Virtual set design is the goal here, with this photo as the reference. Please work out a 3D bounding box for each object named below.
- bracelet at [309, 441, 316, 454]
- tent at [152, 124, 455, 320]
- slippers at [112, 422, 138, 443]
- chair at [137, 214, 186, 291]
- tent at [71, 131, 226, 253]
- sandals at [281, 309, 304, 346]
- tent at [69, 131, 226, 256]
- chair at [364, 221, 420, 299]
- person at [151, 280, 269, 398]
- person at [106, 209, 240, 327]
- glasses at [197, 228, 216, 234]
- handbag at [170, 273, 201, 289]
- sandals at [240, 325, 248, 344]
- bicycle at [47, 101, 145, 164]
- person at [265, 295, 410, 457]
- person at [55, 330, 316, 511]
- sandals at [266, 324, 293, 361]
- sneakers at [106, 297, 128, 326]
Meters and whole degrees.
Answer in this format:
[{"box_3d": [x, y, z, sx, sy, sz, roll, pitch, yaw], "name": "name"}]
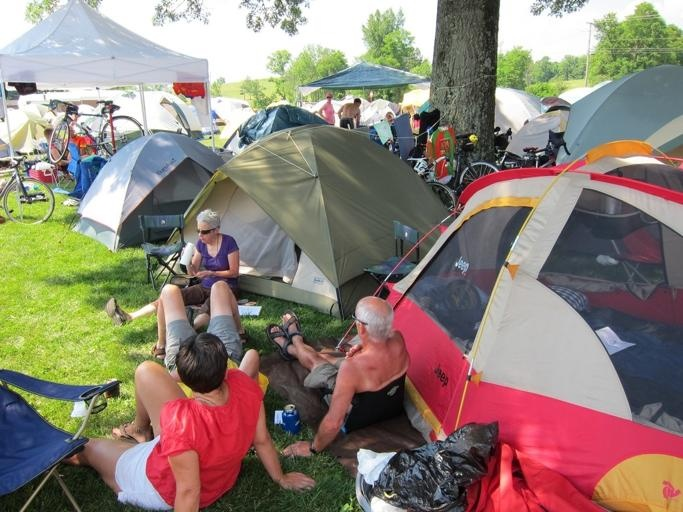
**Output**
[{"box_3d": [-0.215, 1.431, 3.996, 0.048, 0.085, 0.076, 17, 29, 3], "name": "bracelet"}, {"box_3d": [-0.336, -0.837, 7.134, 3.336, 1.946, 2.596, 15, 32, 42], "name": "tent"}, {"box_3d": [-1.595, 1.319, 3.946, 0.259, 0.077, 0.107, 15, 12, 24], "name": "slippers"}, {"box_3d": [-2.216, -0.030, 6.798, 0.628, 0.960, 0.692, -8, -4, -2], "name": "chair"}, {"box_3d": [-2.854, -1.206, 8.479, 1.898, 1.494, 2.695, 17, 25, 41], "name": "tent"}, {"box_3d": [-0.471, 0.711, 5.107, 0.131, 0.106, 0.396, -17, 56, 1], "name": "sandals"}, {"box_3d": [-2.774, -1.117, 8.481, 2.152, 1.494, 2.738, 9, 20, 42], "name": "tent"}, {"box_3d": [0.588, 0.106, 5.700, 0.444, 0.724, 0.404, -22, 31, -26], "name": "chair"}, {"box_3d": [-1.137, 0.791, 4.462, 0.685, 0.661, 1.250, -6, 26, -14], "name": "person"}, {"box_3d": [-1.628, 0.119, 5.457, 0.765, 1.125, 1.329, 0, 7, 37], "name": "person"}, {"box_3d": [-1.392, -0.255, 5.563, 0.165, 0.075, 0.075, -1, 17, -11], "name": "glasses"}, {"box_3d": [-1.745, 0.281, 5.971, 0.227, 0.095, 0.190, 7, 7, 31], "name": "handbag"}, {"box_3d": [-0.958, 0.776, 5.255, 0.106, 0.086, 0.314, 2, -15, -7], "name": "sandals"}, {"box_3d": [-6.264, -3.154, 13.572, 2.231, 1.601, 0.838, -6, 9, -14], "name": "bicycle"}, {"box_3d": [-0.130, 0.744, 4.324, 0.787, 0.803, 1.196, -14, 25, -30], "name": "person"}, {"box_3d": [-1.123, 0.973, 3.748, 1.316, 1.008, 0.949, 15, 15, 33], "name": "person"}, {"box_3d": [-0.579, 0.808, 5.132, 0.149, 0.111, 0.405, -30, 61, -5], "name": "sandals"}, {"box_3d": [-2.388, 0.576, 5.682, 0.145, 0.151, 0.385, -35, 54, 0], "name": "sneakers"}]
